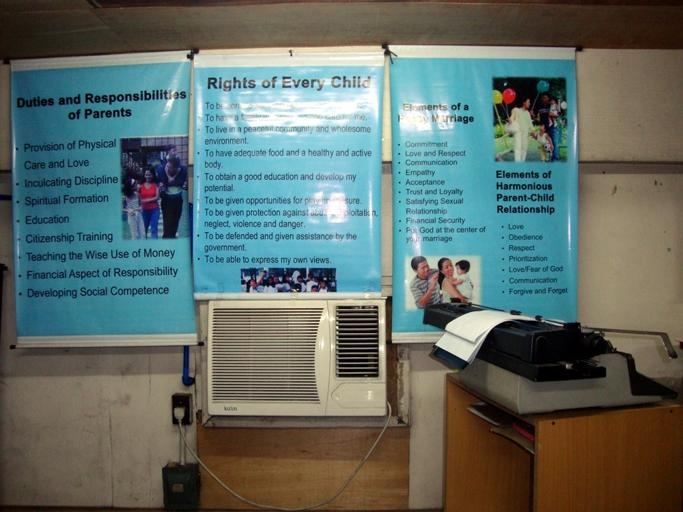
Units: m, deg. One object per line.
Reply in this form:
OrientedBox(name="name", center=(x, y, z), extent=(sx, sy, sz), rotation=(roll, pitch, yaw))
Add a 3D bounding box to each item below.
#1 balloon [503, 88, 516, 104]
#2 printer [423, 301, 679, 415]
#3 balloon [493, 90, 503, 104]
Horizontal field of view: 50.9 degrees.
OrientedBox(name="balloon", center=(1.050, -0.991, 4.498), extent=(0.088, 0.111, 0.090), rotation=(0, -1, -3))
OrientedBox(name="printer", center=(1.070, 0.590, 3.884), extent=(0.746, 0.342, 0.744), rotation=(1, -4, -15))
OrientedBox(name="balloon", center=(0.983, -0.987, 4.491), extent=(0.067, 0.085, 0.049), rotation=(1, 10, 7))
